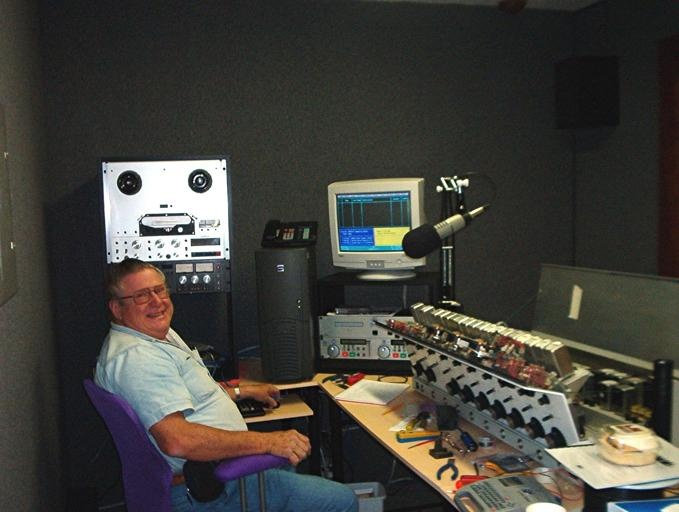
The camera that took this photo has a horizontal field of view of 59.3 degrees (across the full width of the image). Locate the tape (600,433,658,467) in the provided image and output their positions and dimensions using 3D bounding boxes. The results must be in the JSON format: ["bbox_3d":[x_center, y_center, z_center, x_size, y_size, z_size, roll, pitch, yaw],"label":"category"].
[{"bbox_3d":[0.937,0.617,1.926,0.188,0.109,0.075,0,3,6],"label":"tape"}]

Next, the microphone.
[{"bbox_3d":[0.434,-0.124,2.871,0.269,0.307,0.174,-5,14,-18],"label":"microphone"}]

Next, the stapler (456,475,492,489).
[{"bbox_3d":[0.487,0.828,2.172,0.142,0.044,0.038,-9,5,-23],"label":"stapler"}]

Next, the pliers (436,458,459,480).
[{"bbox_3d":[0.414,0.822,2.295,0.088,0.041,0.118,0,3,9],"label":"pliers"}]

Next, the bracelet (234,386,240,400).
[{"bbox_3d":[-0.513,0.693,2.990,0.022,0.054,0.057,-1,3,-10],"label":"bracelet"}]
